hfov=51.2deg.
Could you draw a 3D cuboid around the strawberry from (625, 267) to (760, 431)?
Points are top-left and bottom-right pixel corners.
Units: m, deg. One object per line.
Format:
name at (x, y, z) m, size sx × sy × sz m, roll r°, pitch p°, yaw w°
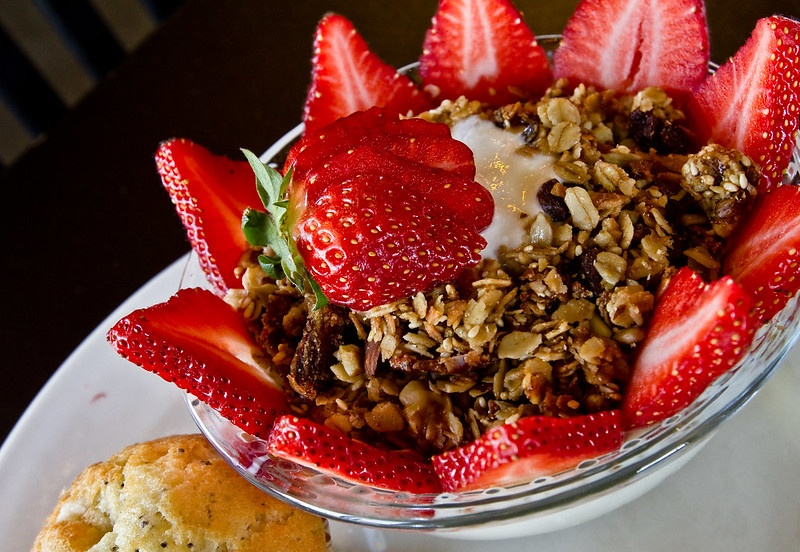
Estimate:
strawberry at (0.477, 0.129, 1.393) m, size 0.162 × 0.201 × 0.233 m, roll 27°, pitch 63°, yaw 29°
